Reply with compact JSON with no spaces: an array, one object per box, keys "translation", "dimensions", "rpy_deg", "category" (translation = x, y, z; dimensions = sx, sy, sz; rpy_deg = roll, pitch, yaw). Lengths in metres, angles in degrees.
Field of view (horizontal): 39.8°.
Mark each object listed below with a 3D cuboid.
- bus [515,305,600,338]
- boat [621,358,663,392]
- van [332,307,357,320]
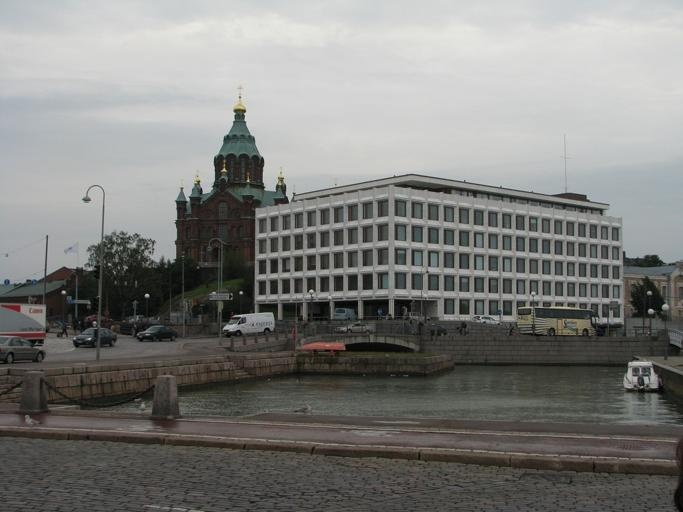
[{"translation":[17.835,5.416,78.793],"dimensions":[6.129,2.261,2.589],"rpy_deg":[-2,-4,4],"category":"bus"},{"translation":[14.970,6.001,46.721],"dimensions":[1.668,1.406,1.665],"rpy_deg":[-3,-4,17],"category":"boat"},{"translation":[0.443,5.424,87.269],"dimensions":[1.109,0.763,1.842],"rpy_deg":[0,0,35],"category":"van"}]
